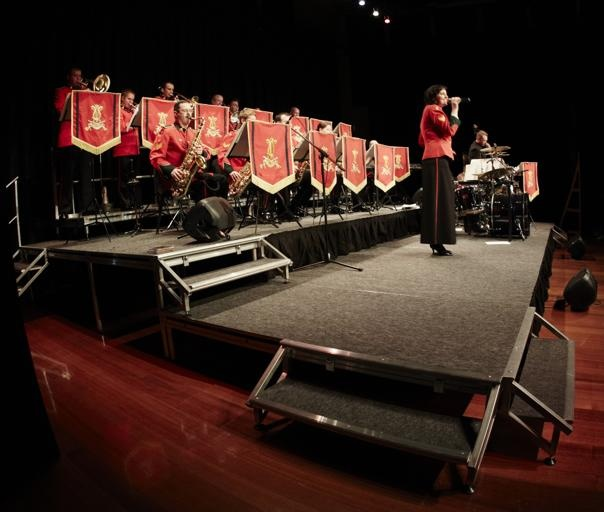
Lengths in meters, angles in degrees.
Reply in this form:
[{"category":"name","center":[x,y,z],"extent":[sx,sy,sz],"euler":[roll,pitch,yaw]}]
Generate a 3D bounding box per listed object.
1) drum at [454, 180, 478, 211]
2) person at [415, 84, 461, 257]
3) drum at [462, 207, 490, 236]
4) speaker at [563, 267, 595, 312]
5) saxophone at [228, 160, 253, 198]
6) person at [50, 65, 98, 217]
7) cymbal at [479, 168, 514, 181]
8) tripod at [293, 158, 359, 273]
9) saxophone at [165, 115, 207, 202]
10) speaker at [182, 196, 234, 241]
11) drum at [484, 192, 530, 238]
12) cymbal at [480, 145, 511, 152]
[{"category":"drum","center":[2.461,-0.866,6.943],"extent":[0.408,0.460,0.351],"euler":[-11,-2,39]},{"category":"person","center":[1.471,-0.848,4.879],"extent":[0.386,1.805,0.583],"euler":[-3,13,-9]},{"category":"drum","center":[2.609,-0.512,6.875],"extent":[0.249,0.460,0.418],"euler":[-5,-2,-19]},{"category":"speaker","center":[2.572,0.324,4.278],"extent":[0.244,0.376,0.294],"euler":[7,15,32]},{"category":"saxophone","center":[-0.699,-0.880,5.202],"extent":[0.200,0.261,0.600],"euler":[-12,-8,-11]},{"category":"person","center":[-2.641,-1.253,5.312],"extent":[0.449,1.633,1.415],"euler":[-8,15,-28]},{"category":"cymbal","center":[2.642,-1.092,6.194],"extent":[0.217,0.102,0.245],"euler":[-4,9,45]},{"category":"tripod","center":[0.290,-0.501,5.613],"extent":[0.878,1.544,0.909],"euler":[5,32,13]},{"category":"saxophone","center":[-1.178,-0.985,4.809],"extent":[0.401,0.827,0.543],"euler":[-5,13,-16]},{"category":"speaker","center":[-0.775,-0.312,4.059],"extent":[0.352,0.393,0.423],"euler":[-2,8,25]},{"category":"drum","center":[2.841,-0.582,6.505],"extent":[0.523,0.790,0.690],"euler":[4,10,44]},{"category":"cymbal","center":[2.757,-1.510,6.611],"extent":[0.318,0.108,0.778],"euler":[3,14,16]}]
